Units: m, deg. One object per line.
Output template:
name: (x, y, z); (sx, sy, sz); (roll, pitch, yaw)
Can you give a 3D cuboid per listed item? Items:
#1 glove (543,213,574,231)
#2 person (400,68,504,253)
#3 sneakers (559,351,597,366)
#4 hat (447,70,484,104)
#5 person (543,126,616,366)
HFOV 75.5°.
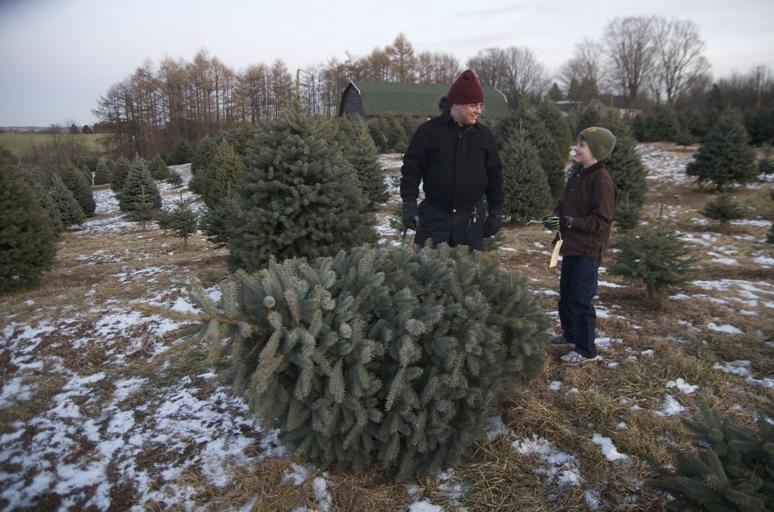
glove: (2.241, -0.405, 6.531); (0.239, 0.120, 0.213); (-7, 28, 19)
person: (0.849, -1.197, 6.632); (1.357, 2.319, 0.745); (-2, 16, 7)
sneakers: (2.474, 1.325, 6.389); (0.472, 0.227, 0.186); (5, 1, -2)
hat: (1.009, -2.173, 6.497); (0.490, 0.434, 0.388); (8, 12, 42)
person: (2.529, -0.161, 6.490); (0.760, 2.782, 1.102); (4, 18, 25)
